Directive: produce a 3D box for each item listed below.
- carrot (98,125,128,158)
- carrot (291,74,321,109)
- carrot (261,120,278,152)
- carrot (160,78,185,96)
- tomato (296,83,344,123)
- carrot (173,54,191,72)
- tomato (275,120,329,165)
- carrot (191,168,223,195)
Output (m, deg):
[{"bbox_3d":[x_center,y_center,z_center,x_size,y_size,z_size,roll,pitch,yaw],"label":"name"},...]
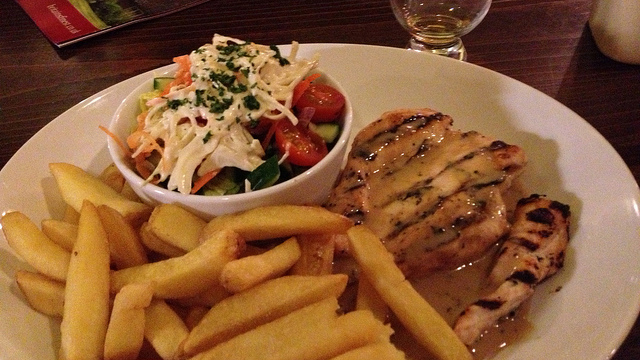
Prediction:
[{"bbox_3d":[-1.605,-0.295,3.801,0.055,0.087,0.320,-34,83,-7],"label":"carrot"},{"bbox_3d":[-0.128,-0.709,3.751,0.069,0.110,0.369,28,64,19],"label":"carrot"},{"bbox_3d":[-0.374,-0.336,3.671,0.069,0.071,0.261,31,94,24],"label":"carrot"},{"bbox_3d":[-1.133,-0.723,3.733,0.170,0.045,0.154,0,52,34],"label":"carrot"},{"bbox_3d":[0.019,-0.625,3.771,0.326,0.139,0.323,-18,60,-19],"label":"tomato"},{"bbox_3d":[-1.049,-0.900,3.794,0.144,0.034,0.140,-29,71,12],"label":"carrot"},{"bbox_3d":[-0.145,-0.275,3.626,0.422,0.149,0.320,19,59,-24],"label":"tomato"},{"bbox_3d":[-0.849,-0.011,3.545,0.278,0.076,0.081,-38,63,-19],"label":"carrot"}]
